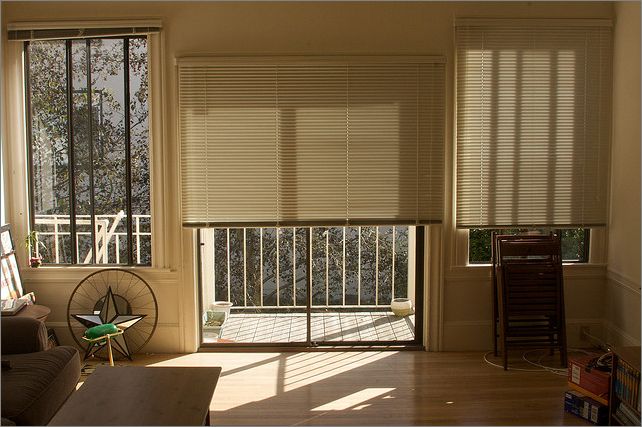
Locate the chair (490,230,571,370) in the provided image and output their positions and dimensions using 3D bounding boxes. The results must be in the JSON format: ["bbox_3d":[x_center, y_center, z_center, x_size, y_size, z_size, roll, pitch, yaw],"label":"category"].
[{"bbox_3d":[2.037,0.836,5.548,0.749,1.200,0.660,2,15,9],"label":"chair"}]

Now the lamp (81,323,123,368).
[{"bbox_3d":[-2.037,1.256,5.379,0.326,0.507,0.444,-5,15,-17],"label":"lamp"}]

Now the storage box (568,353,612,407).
[{"bbox_3d":[2.242,1.401,4.759,0.339,0.196,0.328,-1,4,-31],"label":"storage box"}]
